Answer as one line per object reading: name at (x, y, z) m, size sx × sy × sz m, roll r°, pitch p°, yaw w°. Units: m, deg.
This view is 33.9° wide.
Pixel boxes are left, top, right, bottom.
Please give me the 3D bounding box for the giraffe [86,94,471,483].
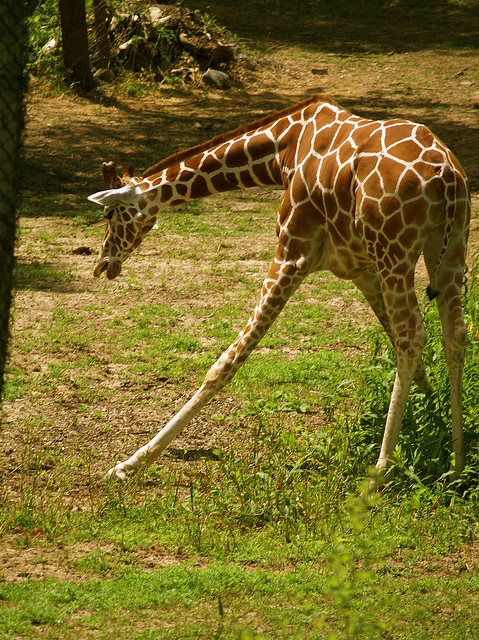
giraffe at (0.068, -0.277, 5.245) m, size 3.039 × 2.499 × 1.725 m, roll 6°, pitch 12°, yaw 22°
